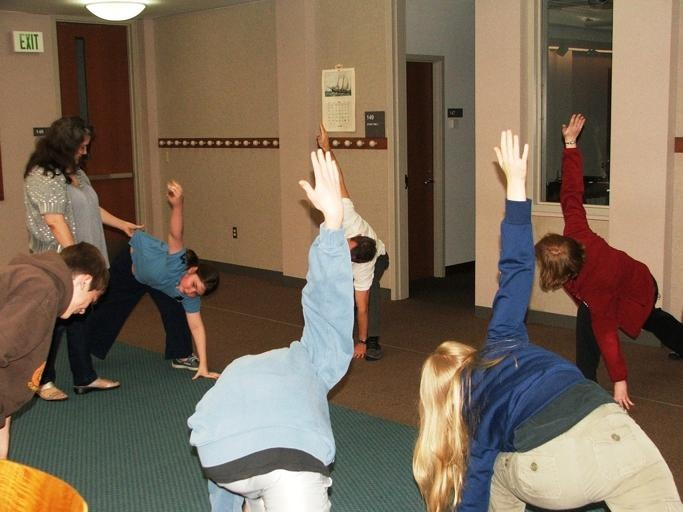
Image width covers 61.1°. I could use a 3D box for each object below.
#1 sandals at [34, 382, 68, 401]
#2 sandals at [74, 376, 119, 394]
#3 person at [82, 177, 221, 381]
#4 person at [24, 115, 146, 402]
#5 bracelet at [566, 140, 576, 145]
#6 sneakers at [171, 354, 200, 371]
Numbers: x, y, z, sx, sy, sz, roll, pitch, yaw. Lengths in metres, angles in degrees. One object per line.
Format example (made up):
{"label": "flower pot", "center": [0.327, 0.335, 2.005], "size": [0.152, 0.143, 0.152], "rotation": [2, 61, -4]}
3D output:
{"label": "sandals", "center": [-2.012, 0.927, 4.056], "size": [0.191, 0.083, 0.112], "rotation": [1, 1, 30]}
{"label": "sandals", "center": [-1.755, 0.921, 4.157], "size": [0.284, 0.115, 0.113], "rotation": [-4, 3, -22]}
{"label": "person", "center": [-1.374, 0.113, 4.257], "size": [1.171, 1.596, 0.765], "rotation": [9, 19, 6]}
{"label": "person", "center": [-1.827, 0.037, 4.174], "size": [0.629, 1.961, 0.805], "rotation": [6, 9, 19]}
{"label": "bracelet", "center": [1.529, -0.765, 3.890], "size": [0.045, 0.018, 0.034], "rotation": [0, 2, 37]}
{"label": "sneakers", "center": [-1.219, 0.839, 4.574], "size": [0.232, 0.096, 0.098], "rotation": [-1, 0, 18]}
